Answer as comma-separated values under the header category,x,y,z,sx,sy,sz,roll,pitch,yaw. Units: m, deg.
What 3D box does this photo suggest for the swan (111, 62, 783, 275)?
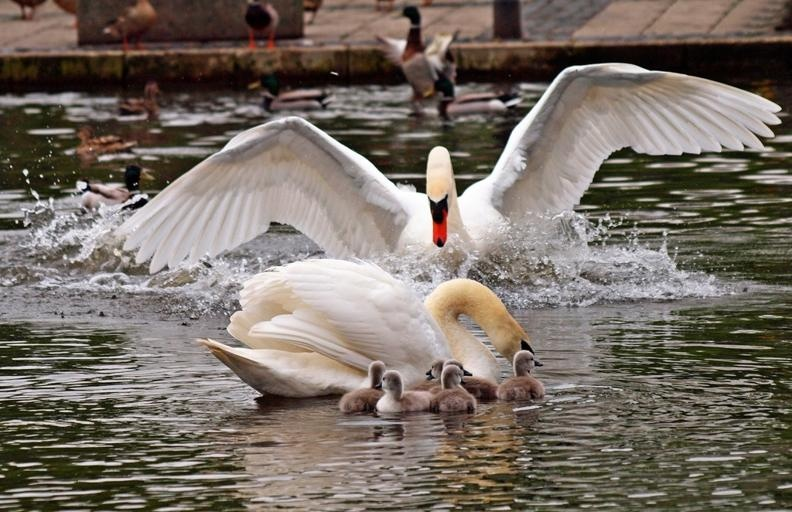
category,x,y,z,sx,sy,sz,roll,pitch,yaw
swan,0.371,-0.709,11.210,4.967,1.628,1.337,-7,20,-5

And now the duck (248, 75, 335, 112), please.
category,x,y,z,sx,sy,sz,roll,pitch,yaw
duck,-1.526,-2.380,20.060,1.412,0.665,0.393,1,9,12

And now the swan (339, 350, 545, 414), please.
category,x,y,z,sx,sy,sz,roll,pitch,yaw
swan,0.418,0.841,8.992,1.622,0.651,0.462,0,-5,-12

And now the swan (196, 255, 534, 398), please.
category,x,y,z,sx,sy,sz,roll,pitch,yaw
swan,-0.095,0.628,9.258,2.579,0.971,0.877,8,-9,-28
